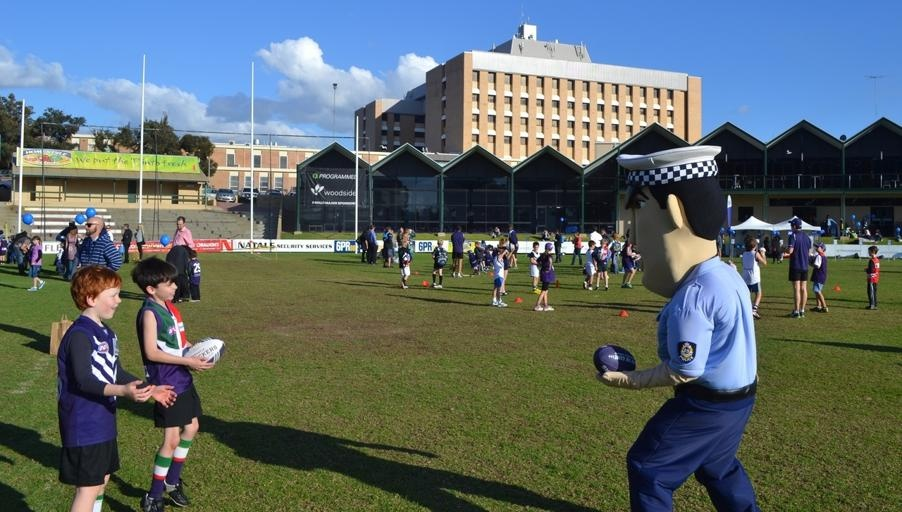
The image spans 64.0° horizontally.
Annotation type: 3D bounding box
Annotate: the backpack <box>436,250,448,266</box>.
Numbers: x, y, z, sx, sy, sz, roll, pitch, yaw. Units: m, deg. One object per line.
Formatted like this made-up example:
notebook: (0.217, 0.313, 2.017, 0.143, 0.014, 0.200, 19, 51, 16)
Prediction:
backpack: (-0.394, 0.091, 29.981, 0.395, 0.487, 1.191, 2, 1, 14)

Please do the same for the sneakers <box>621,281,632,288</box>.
sneakers: (7.258, 1.218, 30.167, 0.186, 0.202, 0.439, 2, 4, 43)

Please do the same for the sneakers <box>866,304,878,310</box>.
sneakers: (13.842, 1.710, 24.077, 0.179, 0.208, 0.487, -1, 2, -3)

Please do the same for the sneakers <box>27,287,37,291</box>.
sneakers: (-15.452, 1.226, 26.744, 0.425, 0.169, 0.154, 3, 1, 26)

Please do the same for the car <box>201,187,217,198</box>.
car: (-23.407, -6.062, 70.047, 1.746, 0.899, 1.065, -5, -3, 31)

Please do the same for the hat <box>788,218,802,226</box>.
hat: (10.368, -1.041, 21.967, 0.259, 0.284, 0.364, 3, 11, -10)

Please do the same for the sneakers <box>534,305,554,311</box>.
sneakers: (3.017, 1.742, 23.920, 0.429, 0.173, 0.250, -2, -5, 9)
